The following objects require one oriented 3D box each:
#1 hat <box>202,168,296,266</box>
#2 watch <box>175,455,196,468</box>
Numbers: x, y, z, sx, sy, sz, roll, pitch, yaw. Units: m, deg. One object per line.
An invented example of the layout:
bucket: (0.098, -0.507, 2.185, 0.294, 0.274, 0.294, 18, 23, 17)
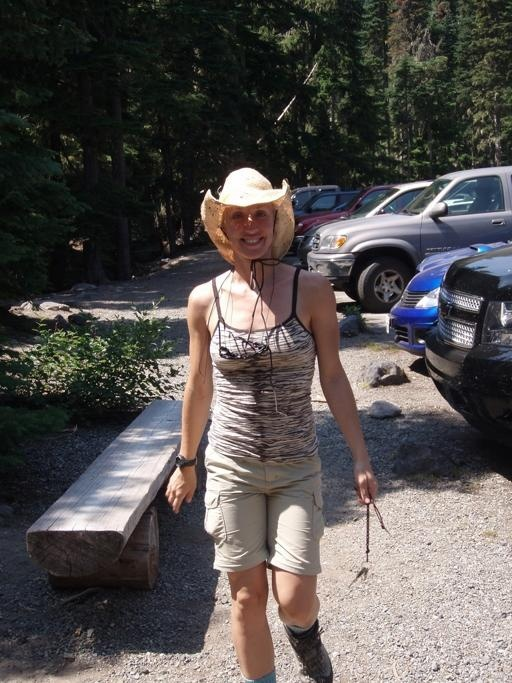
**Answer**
hat: (-0.034, -0.417, 2.049, 0.308, 0.391, 0.167, -2, 37, 6)
watch: (-0.234, 0.399, 1.997, 0.059, 0.034, 0.058, 7, -11, -23)
